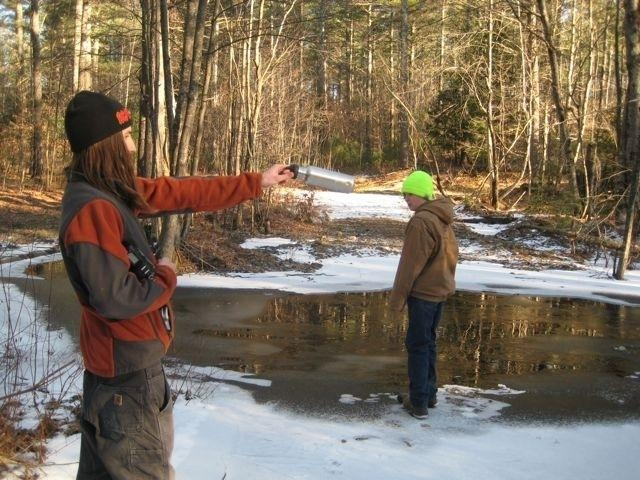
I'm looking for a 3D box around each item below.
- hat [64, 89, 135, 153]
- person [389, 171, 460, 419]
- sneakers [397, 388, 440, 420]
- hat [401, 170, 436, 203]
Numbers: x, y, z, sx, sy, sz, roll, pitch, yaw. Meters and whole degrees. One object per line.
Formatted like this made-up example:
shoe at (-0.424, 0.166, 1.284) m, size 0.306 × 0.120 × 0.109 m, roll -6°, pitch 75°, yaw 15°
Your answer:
hat at (-2.490, -1.285, 8.227) m, size 0.634 × 0.549 × 0.675 m, roll -30°, pitch -4°, yaw 25°
person at (1.446, 0.757, 10.751) m, size 0.953 × 3.455 × 0.543 m, roll 0°, pitch 3°, yaw -31°
sneakers at (1.349, 2.312, 10.716) m, size 0.219 × 0.269 × 0.623 m, roll -3°, pitch 15°, yaw -19°
hat at (1.463, -0.789, 11.073) m, size 0.471 × 0.388 × 0.369 m, roll 5°, pitch 6°, yaw -6°
